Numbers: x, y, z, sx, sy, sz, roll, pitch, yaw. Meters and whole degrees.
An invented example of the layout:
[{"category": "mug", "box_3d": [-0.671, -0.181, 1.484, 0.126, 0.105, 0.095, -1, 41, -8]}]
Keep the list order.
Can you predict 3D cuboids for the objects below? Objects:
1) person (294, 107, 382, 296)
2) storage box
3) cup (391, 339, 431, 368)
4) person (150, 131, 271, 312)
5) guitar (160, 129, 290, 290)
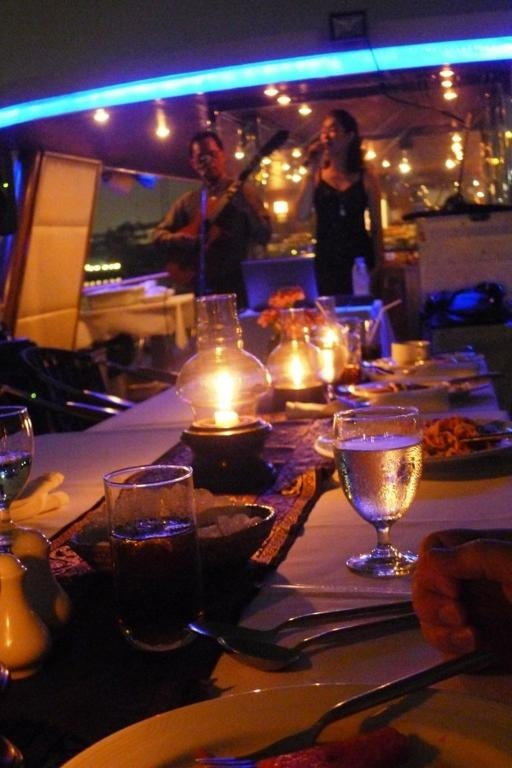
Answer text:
[{"category": "person", "box_3d": [0.591, -1.284, 4.804, 0.595, 1.283, 0.334, -6, 9, 9]}, {"category": "storage box", "box_3d": [0.158, -0.628, 4.163, 0.560, 0.375, 0.521, -2, -6, 1]}, {"category": "cup", "box_3d": [0.439, -0.087, 1.894, 0.078, 0.059, 0.096, -5, 11, -22]}, {"category": "person", "box_3d": [-0.369, -1.295, 5.549, 0.965, 1.887, 0.284, -5, 49, -10]}, {"category": "guitar", "box_3d": [-0.324, -1.333, 5.602, 0.866, 1.582, 0.384, 10, 42, -13]}]
